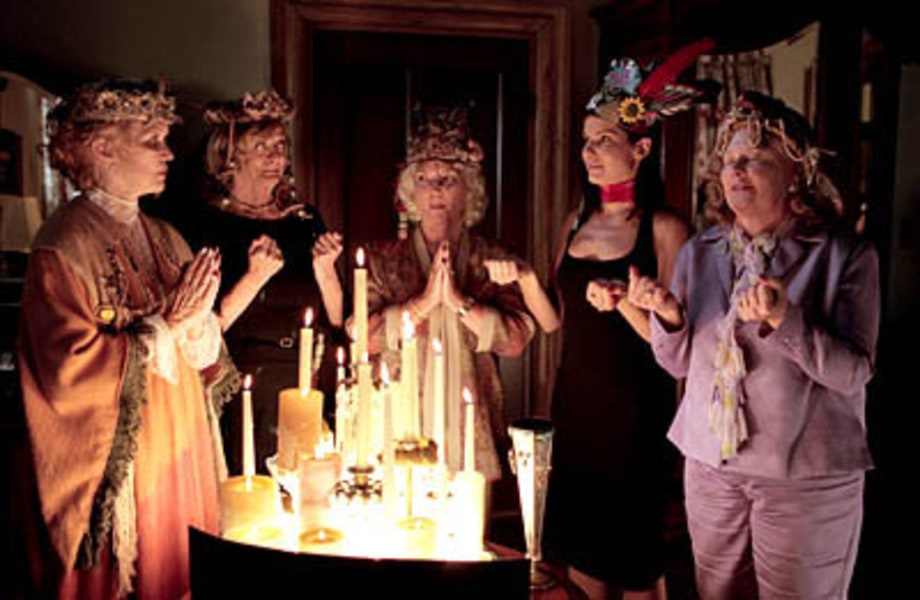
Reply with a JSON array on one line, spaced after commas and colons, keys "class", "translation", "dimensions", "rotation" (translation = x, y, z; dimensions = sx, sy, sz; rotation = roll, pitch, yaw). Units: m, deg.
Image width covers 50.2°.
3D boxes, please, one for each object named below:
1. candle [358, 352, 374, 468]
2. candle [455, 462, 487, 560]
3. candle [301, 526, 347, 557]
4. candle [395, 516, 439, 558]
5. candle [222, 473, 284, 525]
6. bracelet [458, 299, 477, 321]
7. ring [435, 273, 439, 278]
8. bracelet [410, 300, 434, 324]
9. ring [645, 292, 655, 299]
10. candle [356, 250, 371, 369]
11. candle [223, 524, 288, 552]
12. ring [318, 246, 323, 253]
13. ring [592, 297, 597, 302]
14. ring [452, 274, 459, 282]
[{"class": "candle", "translation": [-0.322, 0.389, 3.314], "dimensions": [0.049, 0.346, 0.199], "rotation": [-1, 1, -6]}, {"class": "candle", "translation": [0.032, 0.735, 3.315], "dimensions": [0.105, 0.303, 0.295], "rotation": [0, 1, -2]}, {"class": "candle", "translation": [-0.451, 0.801, 3.250], "dimensions": [0.099, 0.058, 0.097], "rotation": [2, 2, -24]}, {"class": "candle", "translation": [-0.134, 0.802, 3.293], "dimensions": [0.128, 0.119, 0.112], "rotation": [0, -1, 16]}, {"class": "candle", "translation": [-0.712, 0.674, 3.391], "dimensions": [0.170, 0.176, 0.162], "rotation": [0, 3, -39]}, {"class": "bracelet", "translation": [0.028, 0.050, 4.607], "dimensions": [0.061, 0.090, 0.082], "rotation": [33, -34, 7]}, {"class": "ring", "translation": [-0.107, -0.112, 4.536], "dimensions": [0.017, 0.016, 0.004], "rotation": [0, -10, 13]}, {"class": "bracelet", "translation": [-0.191, 0.062, 4.604], "dimensions": [0.090, 0.093, 0.036], "rotation": [5, -21, -12]}, {"class": "ring", "translation": [0.805, -0.016, 4.129], "dimensions": [0.019, 0.017, 0.025], "rotation": [14, -39, -19]}, {"class": "candle", "translation": [-0.341, 0.068, 3.418], "dimensions": [0.040, 0.332, 0.079], "rotation": [-1, 1, -13]}, {"class": "candle", "translation": [-0.677, 0.802, 3.296], "dimensions": [0.113, 0.065, 0.110], "rotation": [1, 3, -18]}, {"class": "ring", "translation": [-0.648, -0.235, 4.566], "dimensions": [0.022, 0.029, 0.010], "rotation": [-2, -7, 37]}, {"class": "ring", "translation": [0.600, -0.003, 4.382], "dimensions": [0.025, 0.022, 0.007], "rotation": [-1, -1, 40]}, {"class": "ring", "translation": [-0.021, -0.103, 4.613], "dimensions": [0.032, 0.026, 0.052], "rotation": [-1, -16, -2]}]
